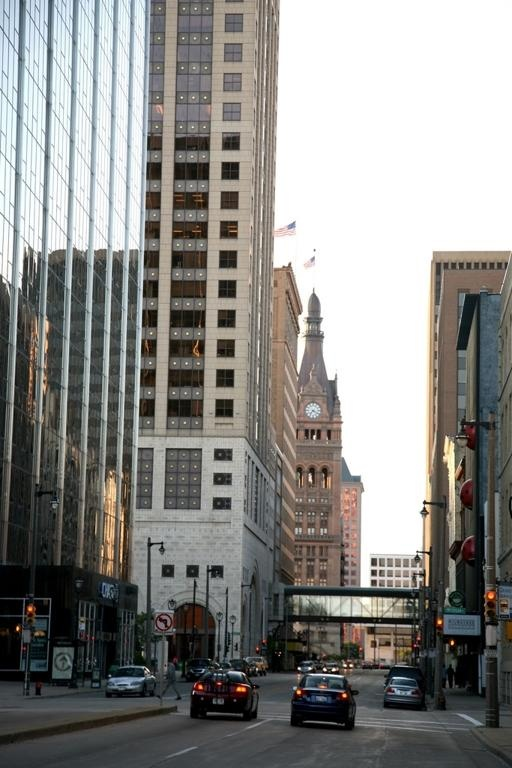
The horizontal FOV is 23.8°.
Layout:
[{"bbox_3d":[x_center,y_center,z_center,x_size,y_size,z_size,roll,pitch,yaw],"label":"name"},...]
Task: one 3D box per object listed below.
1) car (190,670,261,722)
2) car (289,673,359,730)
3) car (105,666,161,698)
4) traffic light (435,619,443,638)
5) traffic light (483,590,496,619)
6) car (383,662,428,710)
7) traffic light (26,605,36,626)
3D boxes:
[{"bbox_3d":[-0.782,8.297,32.650,0.905,0.904,2.320,1,-6,7],"label":"car"},{"bbox_3d":[1.685,8.072,31.166,1.541,1.336,1.282,3,-15,-3],"label":"car"},{"bbox_3d":[-4.887,11.543,47.641,0.875,0.958,2.466,-2,-19,3],"label":"car"},{"bbox_3d":[7.273,9.632,48.623,0.196,0.729,0.664,2,-15,0],"label":"traffic light"},{"bbox_3d":[6.135,5.793,32.008,0.257,0.793,0.505,1,-14,4],"label":"traffic light"},{"bbox_3d":[6.021,12.338,49.720,1.183,1.259,3.272,2,-4,7],"label":"car"},{"bbox_3d":[-8.249,8.380,44.356,0.265,0.815,0.616,6,-15,-16],"label":"traffic light"}]
